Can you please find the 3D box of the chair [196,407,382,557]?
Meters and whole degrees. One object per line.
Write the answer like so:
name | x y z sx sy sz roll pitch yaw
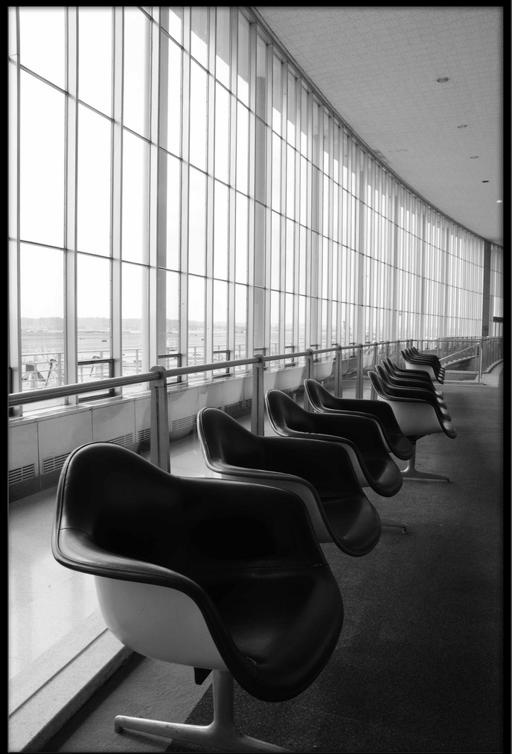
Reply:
chair | 0.137 0.369 1.858 0.494 0.600 0.537 -2 1 23

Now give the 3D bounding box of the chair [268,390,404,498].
chair | 0.381 0.301 2.544 0.496 0.647 0.518 -3 1 23
